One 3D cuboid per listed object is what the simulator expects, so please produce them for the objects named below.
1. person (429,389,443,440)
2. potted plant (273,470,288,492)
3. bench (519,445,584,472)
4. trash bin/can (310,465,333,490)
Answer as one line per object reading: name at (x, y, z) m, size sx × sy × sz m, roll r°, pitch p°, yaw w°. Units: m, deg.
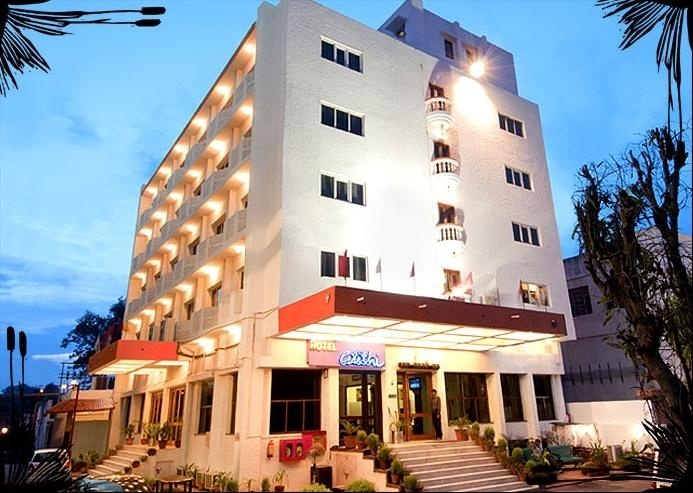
person at (4.324, 7.951, 22.995) m, size 0.493 × 2.290 × 0.824 m, roll -5°, pitch -21°, yaw 9°
potted plant at (-2.570, 9.102, 18.728) m, size 0.469 × 0.622 × 0.391 m, roll -21°, pitch -37°, yaw -3°
bench at (9.180, 9.480, 21.523) m, size 2.076 × 0.611 × 0.685 m, roll 30°, pitch -16°, yaw -34°
trash bin/can at (-0.928, 9.178, 19.257) m, size 1.192 × 0.881 × 0.485 m, roll 16°, pitch -27°, yaw -38°
